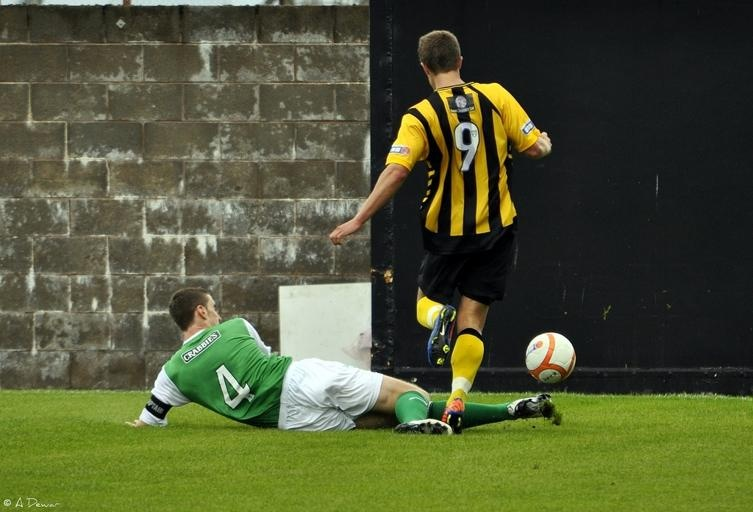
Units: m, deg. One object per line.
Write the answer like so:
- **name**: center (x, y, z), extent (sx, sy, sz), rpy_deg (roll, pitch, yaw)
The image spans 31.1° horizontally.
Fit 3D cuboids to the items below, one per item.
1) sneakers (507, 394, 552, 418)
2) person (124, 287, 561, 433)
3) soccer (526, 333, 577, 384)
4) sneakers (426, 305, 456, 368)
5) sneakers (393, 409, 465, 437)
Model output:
- **sneakers**: center (1.168, 1.168, 10.391), extent (0.246, 0.114, 0.191), rpy_deg (-2, -3, 6)
- **person**: center (-0.248, 0.870, 10.537), extent (3.165, 1.180, 1.116), rpy_deg (0, -4, 19)
- **soccer**: center (1.361, 0.839, 10.756), extent (0.369, 0.401, 0.368), rpy_deg (2, -10, -3)
- **sneakers**: center (0.493, 0.620, 10.476), extent (0.202, 0.495, 0.202), rpy_deg (17, -11, -34)
- **sneakers**: center (0.354, 1.284, 10.221), extent (0.385, 0.177, 0.155), rpy_deg (-2, -4, 3)
